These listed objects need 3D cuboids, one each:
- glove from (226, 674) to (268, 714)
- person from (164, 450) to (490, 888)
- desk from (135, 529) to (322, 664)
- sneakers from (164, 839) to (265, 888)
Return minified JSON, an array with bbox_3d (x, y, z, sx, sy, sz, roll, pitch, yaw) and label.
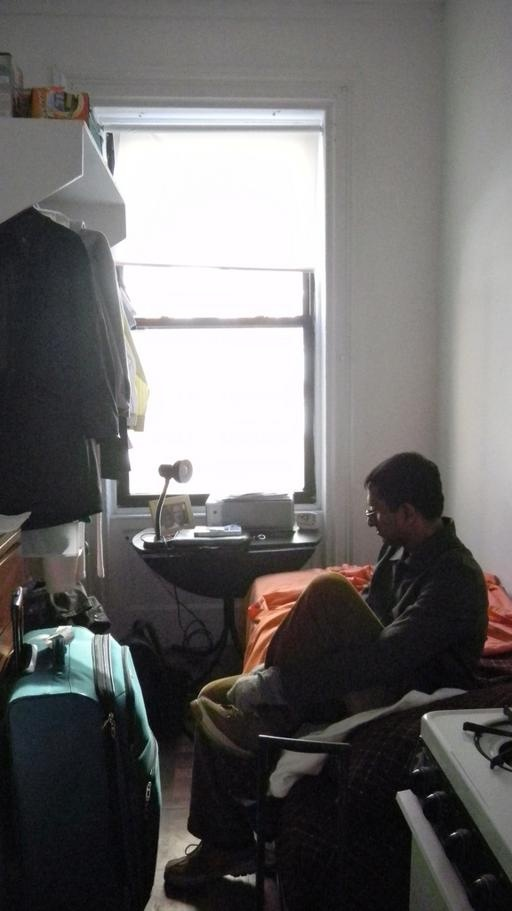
[{"bbox_3d":[-0.019,0.472,1.407,0.072,0.066,0.034,-10,17,11],"label":"glove"},{"bbox_3d":[0.120,0.469,1.458,0.640,0.909,0.359,-3,7,-11],"label":"person"},{"bbox_3d":[-0.113,0.383,2.492,0.625,0.551,0.388,0,6,-4],"label":"desk"},{"bbox_3d":[-0.094,0.896,1.576,0.208,0.119,0.086,-2,-11,0],"label":"sneakers"}]
